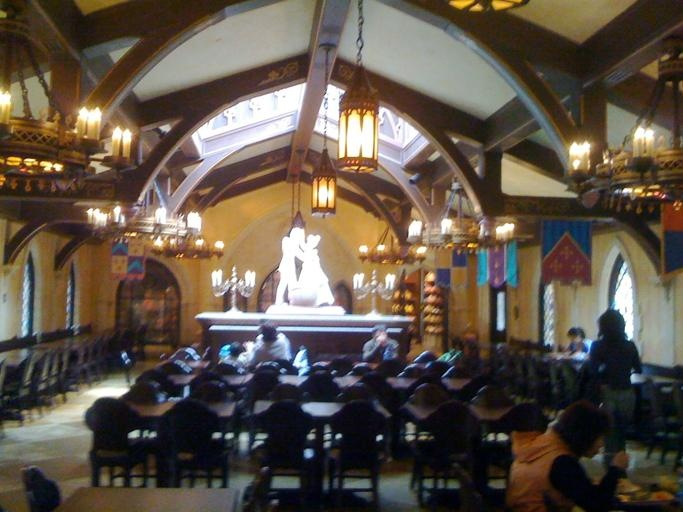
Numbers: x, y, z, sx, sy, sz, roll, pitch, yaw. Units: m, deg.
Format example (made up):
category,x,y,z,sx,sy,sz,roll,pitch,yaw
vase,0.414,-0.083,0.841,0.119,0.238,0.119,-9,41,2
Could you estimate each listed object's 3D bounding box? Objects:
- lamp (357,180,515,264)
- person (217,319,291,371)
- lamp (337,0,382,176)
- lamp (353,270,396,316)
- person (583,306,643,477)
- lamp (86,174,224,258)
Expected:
category,x,y,z,sx,sy,sz,roll,pitch,yaw
lamp,2.185,-0.411,13.151,2.488,1.057,2.548,1,2,20
person,-1.417,1.547,11.622,0.776,0.807,1.512,6,-4,-34
lamp,0.185,-1.583,7.336,0.441,1.317,0.313,1,-9,-1
lamp,0.922,1.066,19.361,1.580,1.674,1.587,1,-8,-5
person,3.731,1.776,9.253,0.738,2.259,0.733,-9,17,-2
lamp,-3.425,-0.465,11.483,1.869,0.557,1.848,5,-7,-8
